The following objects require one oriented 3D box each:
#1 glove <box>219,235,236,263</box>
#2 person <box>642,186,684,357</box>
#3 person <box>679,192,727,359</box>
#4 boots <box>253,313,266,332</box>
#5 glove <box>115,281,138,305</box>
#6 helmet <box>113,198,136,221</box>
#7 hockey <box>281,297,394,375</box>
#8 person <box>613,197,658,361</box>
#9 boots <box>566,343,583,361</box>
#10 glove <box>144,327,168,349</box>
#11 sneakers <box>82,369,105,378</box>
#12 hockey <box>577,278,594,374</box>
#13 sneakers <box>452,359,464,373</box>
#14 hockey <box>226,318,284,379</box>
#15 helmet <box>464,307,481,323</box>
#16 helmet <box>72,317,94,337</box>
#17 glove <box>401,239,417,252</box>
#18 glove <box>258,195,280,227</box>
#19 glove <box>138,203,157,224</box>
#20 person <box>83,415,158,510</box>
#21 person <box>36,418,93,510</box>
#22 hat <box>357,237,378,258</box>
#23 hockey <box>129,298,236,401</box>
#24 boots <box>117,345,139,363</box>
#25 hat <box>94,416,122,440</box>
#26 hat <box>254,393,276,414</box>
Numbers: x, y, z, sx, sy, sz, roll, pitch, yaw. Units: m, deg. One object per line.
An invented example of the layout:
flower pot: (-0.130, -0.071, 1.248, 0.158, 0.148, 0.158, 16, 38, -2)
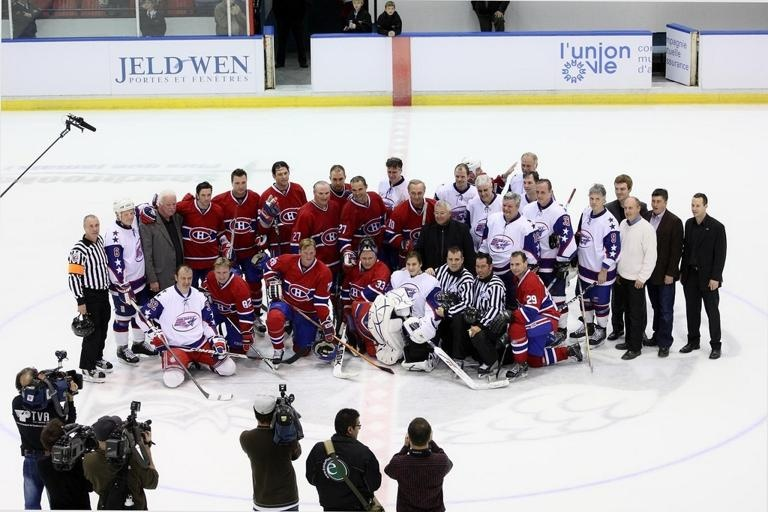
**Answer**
glove: (-2.011, -0.095, 10.851, 0.301, 0.297, 0.108, 4, -13, -43)
person: (3.391, 0.189, 10.281, 0.461, 2.010, 0.420, -11, 12, -39)
person: (3.824, 0.238, 10.125, 0.496, 1.989, 0.325, 0, 10, 21)
boots: (-1.654, 0.875, 11.168, 0.105, 0.134, 0.308, -4, 23, -25)
glove: (-3.091, 0.436, 10.101, 0.209, 0.319, 0.104, 28, 38, 28)
helmet: (-3.089, -0.565, 10.095, 0.256, 0.251, 0.208, -3, 8, 37)
hockey: (-0.557, 0.988, 10.249, 1.395, 0.150, 0.154, 32, -20, 5)
person: (3.023, 0.197, 10.405, 0.743, 2.135, 0.593, 4, 30, 20)
boots: (2.296, 1.147, 10.130, 0.126, 0.104, 0.292, -11, -36, 12)
glove: (-2.649, 0.950, 9.770, 0.191, 0.260, 0.106, -3, 9, 1)
sneakers: (-3.384, 1.372, 9.818, 0.276, 0.118, 0.101, 1, 9, 4)
hockey: (2.485, 0.830, 10.381, 0.266, 0.945, 0.151, -3, -4, 16)
sneakers: (0.893, 1.292, 10.059, 0.117, 0.128, 0.102, 4, -5, 2)
hockey: (-1.622, 1.163, 10.333, 1.163, 0.378, 0.029, 32, 12, 26)
helmet: (1.039, 0.695, 9.969, 0.167, 0.177, 0.275, -1, 9, 11)
helmet: (-3.419, 0.800, 9.574, 0.214, 0.234, 0.111, 2, 19, -4)
glove: (0.309, -0.133, 10.901, 0.109, 0.185, 0.058, 17, 41, -11)
glove: (-1.461, -0.585, 10.767, 0.251, 0.396, 0.155, 3, 0, 40)
glove: (-2.922, -0.531, 10.328, 0.188, 0.258, 0.110, -6, -4, -11)
person: (-2.213, 1.745, 7.025, 0.575, 0.842, 0.242, -6, 10, -14)
person: (-2.790, 1.856, 7.569, 0.461, 0.804, 0.396, 5, 10, 16)
hat: (-0.205, -0.134, 10.389, 0.197, 0.263, 0.233, -1, 18, -2)
hockey: (-2.345, 1.098, 9.853, 0.213, 0.179, 1.531, 5, 35, -47)
boots: (-3.133, 1.183, 10.246, 0.387, 0.178, 0.132, 10, 17, 44)
hat: (-2.302, 1.427, 6.993, 0.231, 0.195, 0.265, -7, 10, -21)
hat: (-1.004, 1.263, 7.137, 0.190, 0.171, 0.108, -5, 10, -9)
